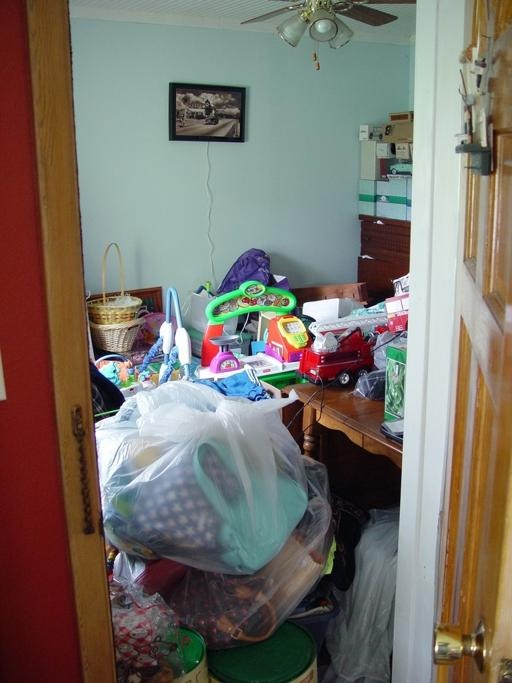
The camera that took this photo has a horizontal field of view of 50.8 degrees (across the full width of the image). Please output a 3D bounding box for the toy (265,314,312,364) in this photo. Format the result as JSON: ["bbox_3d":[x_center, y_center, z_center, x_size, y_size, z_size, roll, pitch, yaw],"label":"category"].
[{"bbox_3d":[0.195,-0.023,3.039,0.186,0.242,0.249,-4,15,-30],"label":"toy"}]

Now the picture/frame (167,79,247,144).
[{"bbox_3d":[-0.464,-2.080,4.805,0.600,0.429,0.029,-3,10,-21],"label":"picture/frame"}]

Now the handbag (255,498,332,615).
[{"bbox_3d":[0.098,0.635,1.599,0.061,0.173,0.265,31,52,2],"label":"handbag"}]

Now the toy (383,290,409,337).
[{"bbox_3d":[0.582,-0.109,2.250,0.079,0.161,0.172,-21,25,-39],"label":"toy"}]

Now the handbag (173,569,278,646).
[{"bbox_3d":[-0.094,0.728,1.464,0.206,0.082,0.175,28,39,3],"label":"handbag"}]

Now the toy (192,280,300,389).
[{"bbox_3d":[-0.024,-0.093,3.635,0.681,0.648,0.266,-8,21,-15],"label":"toy"}]

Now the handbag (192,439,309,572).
[{"bbox_3d":[-0.065,0.448,1.519,0.122,0.345,0.331,-19,-1,36],"label":"handbag"}]

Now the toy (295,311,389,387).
[{"bbox_3d":[0.430,0.019,2.294,0.535,0.288,0.191,-8,10,-31],"label":"toy"}]

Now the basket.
[{"bbox_3d":[-1.091,-0.345,4.154,0.400,0.805,0.887,-7,12,-13],"label":"basket"}]
